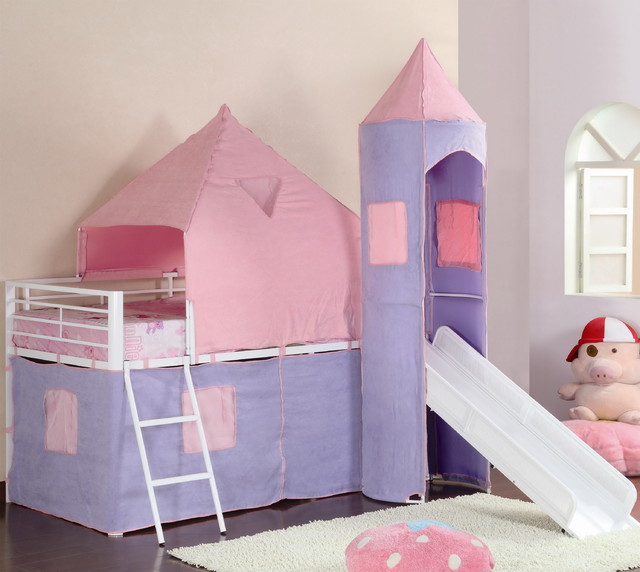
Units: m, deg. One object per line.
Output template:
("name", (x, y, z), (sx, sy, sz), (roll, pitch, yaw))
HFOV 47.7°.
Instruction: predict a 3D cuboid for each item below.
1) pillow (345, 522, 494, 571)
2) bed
("pillow", (0.410, 1.114, 3.076), (0.304, 0.101, 0.315), (7, -6, -21))
("bed", (-1.216, 0.454, 4.504), (1.427, 1.365, 1.696), (-2, 3, -32))
